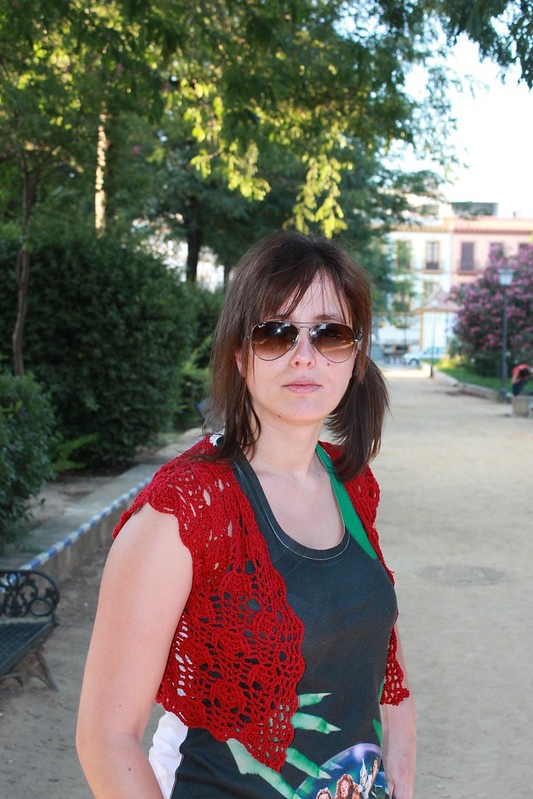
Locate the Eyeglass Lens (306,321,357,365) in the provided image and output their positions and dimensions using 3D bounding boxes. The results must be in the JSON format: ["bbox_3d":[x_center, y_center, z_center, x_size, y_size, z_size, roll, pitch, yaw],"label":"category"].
[{"bbox_3d":[0.126,-0.106,1.508,0.081,0.033,0.080,7,-16,-43],"label":"Eyeglass Lens"}]

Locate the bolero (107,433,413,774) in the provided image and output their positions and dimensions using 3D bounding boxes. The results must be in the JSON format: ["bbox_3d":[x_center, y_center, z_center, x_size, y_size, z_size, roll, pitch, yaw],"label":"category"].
[{"bbox_3d":[0.041,0.308,1.332,0.476,0.442,0.265,-10,-7,-37],"label":"bolero"}]
